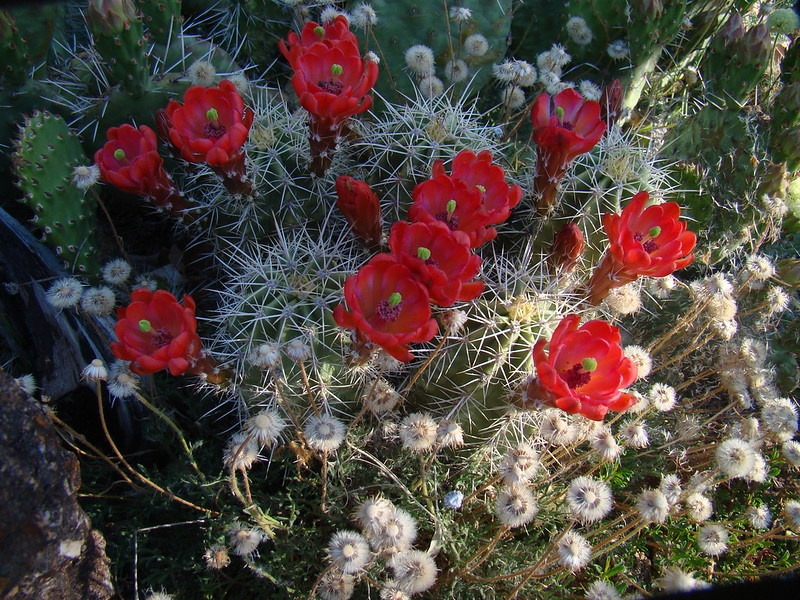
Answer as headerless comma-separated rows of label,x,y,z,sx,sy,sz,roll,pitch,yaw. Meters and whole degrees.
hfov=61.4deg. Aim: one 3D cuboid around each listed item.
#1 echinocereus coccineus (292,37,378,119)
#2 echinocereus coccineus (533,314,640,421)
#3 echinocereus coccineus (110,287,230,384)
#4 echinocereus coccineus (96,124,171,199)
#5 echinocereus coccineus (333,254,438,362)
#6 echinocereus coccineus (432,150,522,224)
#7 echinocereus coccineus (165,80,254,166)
echinocereus coccineus,-0.225,-0.761,2.382,0.289,0.188,0.285,-6,59,-3
echinocereus coccineus,0.565,0.271,2.147,0.322,0.389,0.305,11,59,8
echinocereus coccineus,-0.719,0.177,2.207,0.283,0.513,0.304,10,76,-3
echinocereus coccineus,-0.963,-0.514,2.451,0.160,0.270,0.163,23,84,24
echinocereus coccineus,-0.055,0.048,2.095,0.324,0.199,0.301,33,71,-1
echinocereus coccineus,0.284,-0.393,2.253,0.219,0.124,0.300,-20,74,-5
echinocereus coccineus,-0.652,-0.593,2.374,0.284,0.223,0.307,-16,60,-8
